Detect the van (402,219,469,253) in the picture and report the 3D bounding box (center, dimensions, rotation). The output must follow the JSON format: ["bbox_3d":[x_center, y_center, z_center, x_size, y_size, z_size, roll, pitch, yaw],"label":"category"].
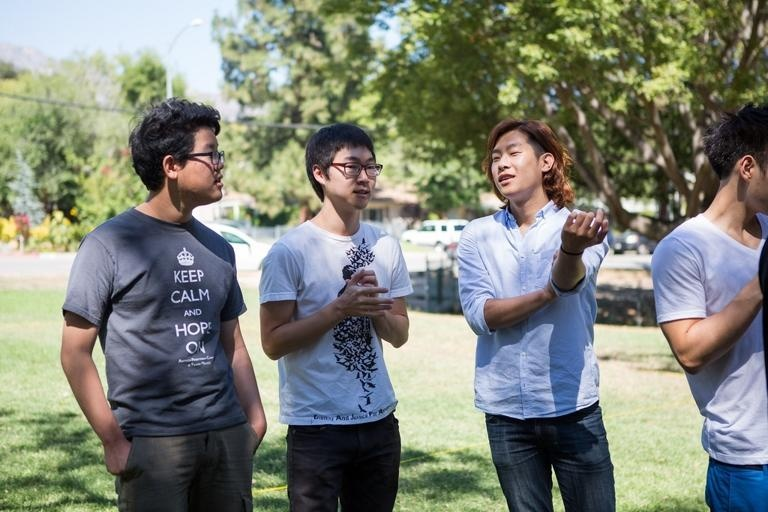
[{"bbox_3d":[2.579,-1.062,44.581,3.249,1.478,1.930,6,6,32],"label":"van"}]
